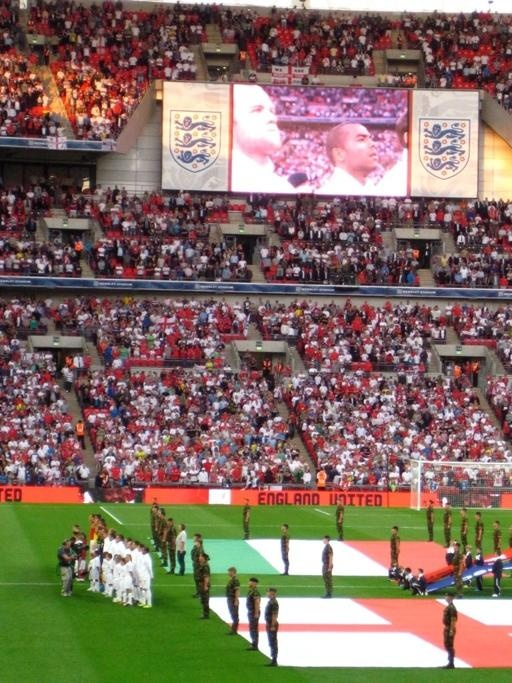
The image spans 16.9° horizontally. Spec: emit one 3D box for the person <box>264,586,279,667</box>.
[{"bbox_3d":[0.406,6.880,41.506,0.376,1.965,1.014,4,12,1],"label":"person"}]
